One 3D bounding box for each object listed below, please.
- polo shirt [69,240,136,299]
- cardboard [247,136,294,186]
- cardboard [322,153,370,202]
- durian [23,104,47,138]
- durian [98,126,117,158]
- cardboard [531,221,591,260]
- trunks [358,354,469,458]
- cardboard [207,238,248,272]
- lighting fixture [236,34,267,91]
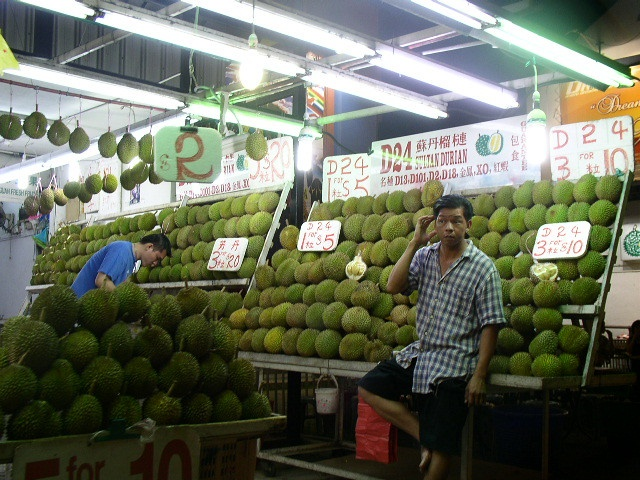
[{"bbox_3d":[-1.770,0.229,4.233,0.247,0.527,0.512,37,-4,-9],"label":"polo shirt"},{"bbox_3d":[-0.525,-0.870,5.667,0.089,0.658,0.507,3,5,-40],"label":"cardboard"},{"bbox_3d":[0.285,-0.645,5.387,0.516,0.517,0.073,2,3,39],"label":"cardboard"},{"bbox_3d":[-3.091,-1.274,5.640,0.253,0.356,0.248,4,2,41],"label":"durian"},{"bbox_3d":[-2.426,-1.139,5.898,0.207,0.313,0.226,-9,-8,-26],"label":"durian"},{"bbox_3d":[1.666,0.009,3.538,0.256,0.236,0.036,-7,-39,34],"label":"cardboard"},{"bbox_3d":[0.639,0.827,2.947,0.411,0.636,0.240,3,0,33],"label":"trunks"},{"bbox_3d":[-0.947,0.146,5.266,0.347,0.372,0.087,-2,-24,29],"label":"cardboard"},{"bbox_3d":[-0.548,-1.468,4.153,0.191,0.554,0.836,1,1,-9],"label":"lighting fixture"}]
